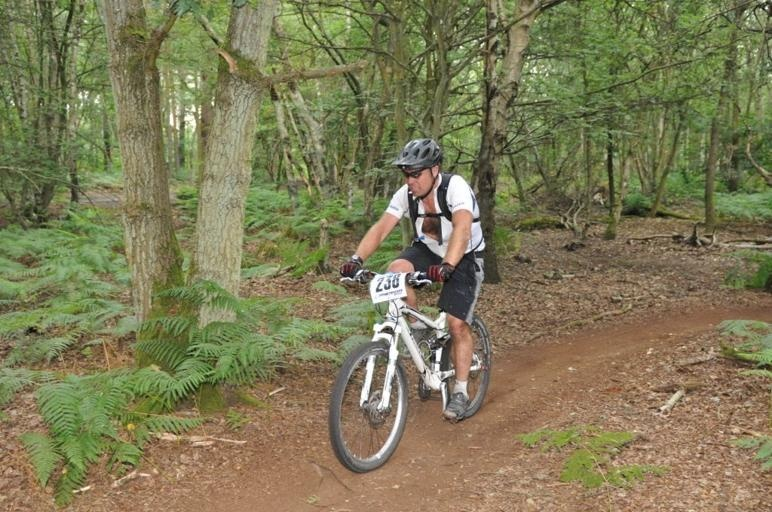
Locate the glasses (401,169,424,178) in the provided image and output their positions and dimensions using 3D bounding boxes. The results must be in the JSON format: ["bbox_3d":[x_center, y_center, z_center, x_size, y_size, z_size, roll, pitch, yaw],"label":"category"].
[{"bbox_3d":[0.441,-1.347,11.320,0.339,0.160,0.095,1,10,2],"label":"glasses"}]

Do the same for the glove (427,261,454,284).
[{"bbox_3d":[0.833,0.252,10.952,0.276,0.136,0.362,-1,11,38],"label":"glove"}]
